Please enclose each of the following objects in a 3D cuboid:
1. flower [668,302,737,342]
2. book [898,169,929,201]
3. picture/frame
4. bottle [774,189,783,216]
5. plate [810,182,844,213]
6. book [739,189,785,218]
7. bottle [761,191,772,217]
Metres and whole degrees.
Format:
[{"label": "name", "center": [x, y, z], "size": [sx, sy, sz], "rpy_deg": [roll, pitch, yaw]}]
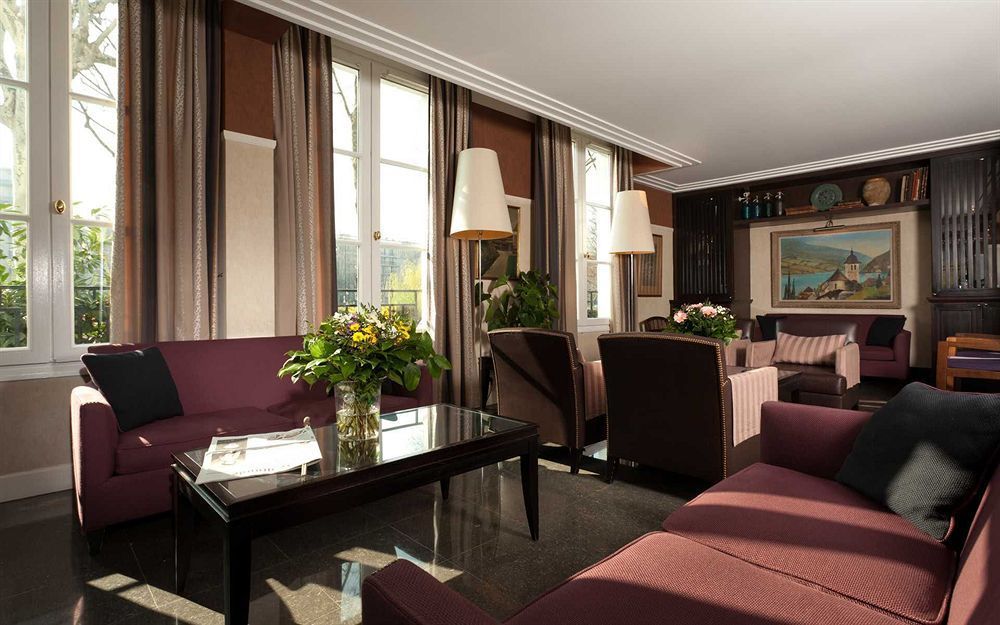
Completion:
[{"label": "flower", "center": [1.836, 0.083, 6.287], "size": [0.580, 0.348, 0.586], "rpy_deg": [-10, 4, -44]}, {"label": "book", "center": [5.442, -1.685, 8.820], "size": [0.223, 0.455, 0.306], "rpy_deg": [-7, 8, -44]}, {"label": "picture/frame", "center": [4.896, -0.686, 9.883], "size": [1.810, 1.304, 0.079], "rpy_deg": [0, 3, 43]}, {"label": "bottle", "center": [4.102, -1.625, 9.872], "size": [0.107, 0.384, 0.252], "rpy_deg": [0, 6, 22]}, {"label": "plate", "center": [4.654, -1.647, 9.567], "size": [0.410, 0.401, 0.098], "rpy_deg": [15, 9, 35]}, {"label": "book", "center": [3.949, -1.642, 10.011], "size": [0.163, 0.454, 0.495], "rpy_deg": [6, -5, -44]}, {"label": "bottle", "center": [3.987, -1.637, 9.997], "size": [0.126, 0.345, 0.210], "rpy_deg": [0, 6, 17]}]
